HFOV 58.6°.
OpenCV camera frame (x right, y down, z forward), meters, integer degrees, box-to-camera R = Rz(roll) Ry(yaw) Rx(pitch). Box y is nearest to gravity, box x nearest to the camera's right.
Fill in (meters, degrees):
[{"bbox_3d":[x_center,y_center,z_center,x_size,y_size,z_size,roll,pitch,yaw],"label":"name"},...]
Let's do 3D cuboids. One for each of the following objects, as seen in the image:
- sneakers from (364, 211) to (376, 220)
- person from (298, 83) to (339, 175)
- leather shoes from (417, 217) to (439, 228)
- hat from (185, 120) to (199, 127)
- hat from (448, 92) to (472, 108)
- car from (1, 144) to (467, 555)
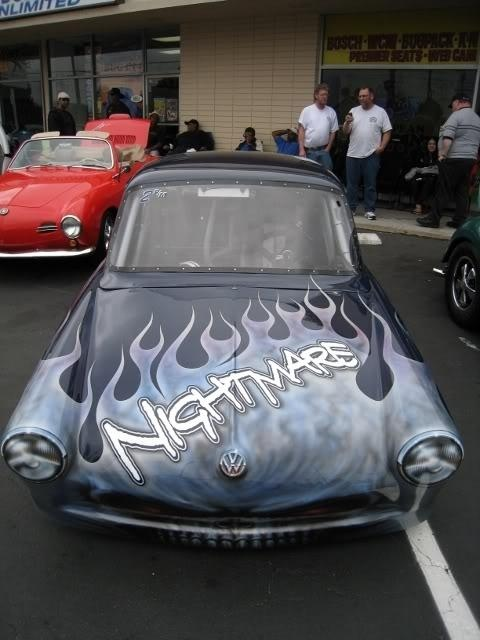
[{"bbox_3d":[2.545,-2.030,8.355,0.100,0.108,0.253,3,34,2],"label":"sneakers"},{"bbox_3d":[1.466,-3.327,8.262,0.731,2.123,0.476,4,12,10],"label":"person"},{"bbox_3d":[3.415,-1.787,7.898,0.401,0.150,0.173,19,-8,44],"label":"leather shoes"},{"bbox_3d":[-1.270,-5.223,11.429,0.347,0.174,0.241,21,25,-12],"label":"hat"},{"bbox_3d":[3.700,-3.670,7.195,0.227,0.333,0.321,3,10,10],"label":"hat"},{"bbox_3d":[-0.017,0.071,2.171,1.342,0.934,2.251,1,33,0],"label":"car"}]
